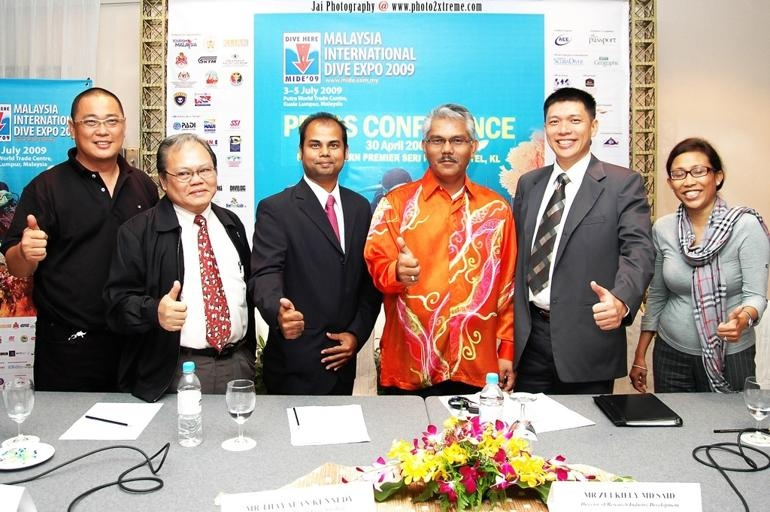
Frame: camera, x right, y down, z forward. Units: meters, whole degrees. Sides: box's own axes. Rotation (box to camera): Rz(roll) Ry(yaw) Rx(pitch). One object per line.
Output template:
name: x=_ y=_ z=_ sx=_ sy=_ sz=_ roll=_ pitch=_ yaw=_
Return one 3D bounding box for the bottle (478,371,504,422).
bottle: x=0.466 y=0.621 z=2.538 sx=0.099 sy=0.242 sz=0.329 roll=2 pitch=11 yaw=11

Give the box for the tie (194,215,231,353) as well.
tie: x=-0.944 y=0.125 z=3.145 sx=0.161 sy=0.696 sz=0.073 roll=-7 pitch=-16 yaw=-22

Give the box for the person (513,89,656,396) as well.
person: x=1.094 y=0.088 z=3.369 sx=0.839 sy=1.463 sz=0.609 roll=6 pitch=13 yaw=29

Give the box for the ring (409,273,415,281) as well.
ring: x=0.143 y=0.110 z=3.193 sx=0.042 sy=0.039 sz=0.010 roll=3 pitch=2 yaw=-22

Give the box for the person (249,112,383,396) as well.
person: x=-0.428 y=-0.010 z=3.393 sx=0.831 sy=1.645 sz=0.551 roll=-10 pitch=15 yaw=-42

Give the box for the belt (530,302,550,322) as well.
belt: x=0.909 y=0.325 z=3.387 sx=0.107 sy=0.055 sz=0.077 roll=23 pitch=-3 yaw=-21

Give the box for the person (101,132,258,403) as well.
person: x=-1.105 y=0.033 z=3.148 sx=0.794 sy=1.387 sz=0.605 roll=-5 pitch=12 yaw=-26
